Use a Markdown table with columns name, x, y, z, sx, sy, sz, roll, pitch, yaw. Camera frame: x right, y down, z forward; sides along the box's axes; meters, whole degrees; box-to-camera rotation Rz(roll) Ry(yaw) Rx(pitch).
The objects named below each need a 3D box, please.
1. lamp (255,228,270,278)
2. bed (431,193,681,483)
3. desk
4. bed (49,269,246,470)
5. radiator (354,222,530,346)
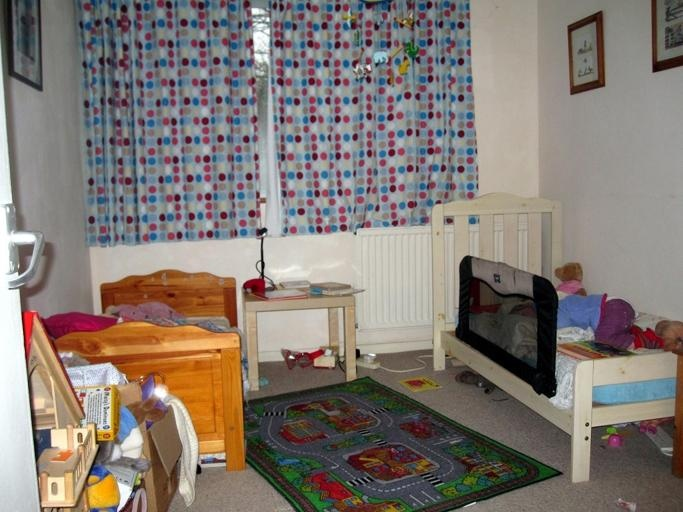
| name | x | y | z | sx | sy | sz | roll | pitch | yaw |
| --- | --- | --- | --- | --- | --- | --- | --- | --- | --- |
| lamp | -0.568 | -0.017 | 4.002 | 0.087 | 0.386 | 0.144 | -3 | 12 | -9 |
| bed | 1.085 | 0.292 | 3.306 | 0.891 | 1.275 | 1.576 | -3 | 11 | -10 |
| desk | -0.284 | 0.488 | 3.792 | 0.644 | 0.528 | 0.682 | -1 | 0 | -12 |
| bed | -0.941 | 0.556 | 3.225 | 0.762 | 0.832 | 1.285 | -1 | 3 | -5 |
| radiator | 0.671 | 0.156 | 3.813 | 0.861 | 0.599 | 0.040 | -3 | 6 | -12 |
